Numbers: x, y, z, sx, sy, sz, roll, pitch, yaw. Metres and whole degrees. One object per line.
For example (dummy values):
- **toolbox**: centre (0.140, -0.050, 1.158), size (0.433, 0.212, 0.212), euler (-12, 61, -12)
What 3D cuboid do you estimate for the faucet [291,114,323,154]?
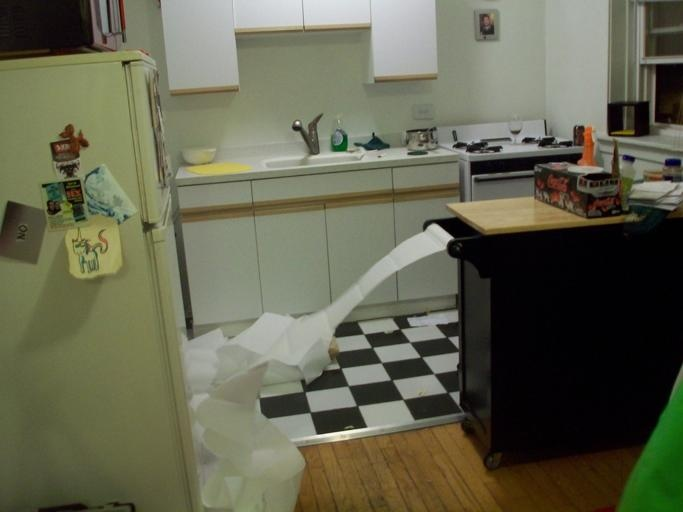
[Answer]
- **faucet**: centre (-0.225, -0.872, 3.995), size (0.219, 0.288, 0.333), euler (-6, 17, 0)

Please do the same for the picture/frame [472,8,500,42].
- **picture/frame**: centre (1.113, -1.790, 4.214), size (0.222, 0.280, 0.026), euler (-2, 8, -11)

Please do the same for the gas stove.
- **gas stove**: centre (1.237, -0.715, 3.906), size (0.854, 0.193, 0.501), euler (-9, 18, -8)

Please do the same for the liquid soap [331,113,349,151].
- **liquid soap**: centre (-0.019, -0.930, 4.151), size (0.163, 0.310, 0.174), euler (-7, 36, -6)

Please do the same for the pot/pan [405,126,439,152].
- **pot/pan**: centre (0.599, -0.870, 4.068), size (0.165, 0.177, 0.227), euler (-8, 16, -29)
